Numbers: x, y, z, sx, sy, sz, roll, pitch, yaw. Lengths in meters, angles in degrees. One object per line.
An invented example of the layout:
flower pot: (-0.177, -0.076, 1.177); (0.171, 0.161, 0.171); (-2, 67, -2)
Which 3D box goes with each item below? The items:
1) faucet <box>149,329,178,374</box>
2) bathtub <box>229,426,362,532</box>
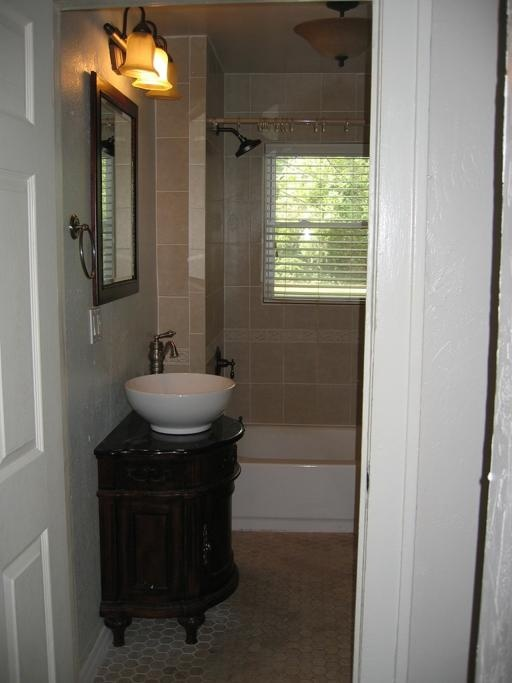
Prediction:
faucet: (-0.382, 0.049, 2.625); (0.116, 0.200, 0.063); (-3, 22, -11)
bathtub: (0.240, 0.745, 3.521); (0.717, 0.392, 0.897); (1, 7, 3)
